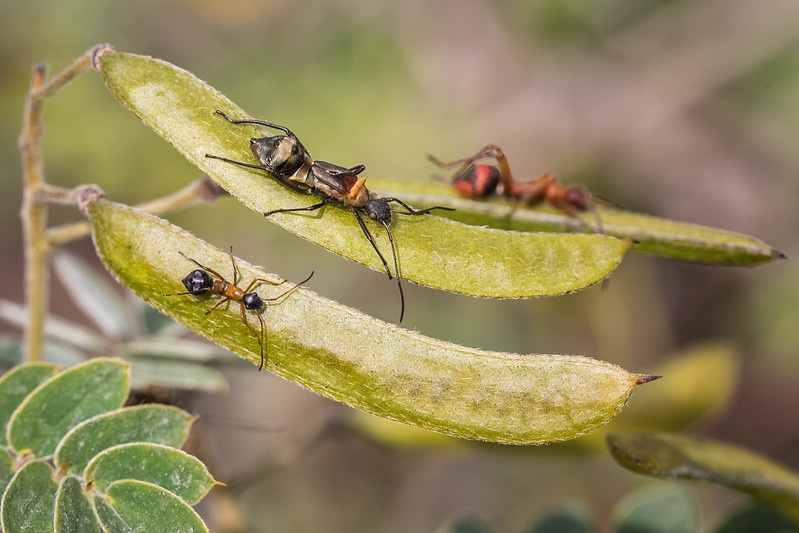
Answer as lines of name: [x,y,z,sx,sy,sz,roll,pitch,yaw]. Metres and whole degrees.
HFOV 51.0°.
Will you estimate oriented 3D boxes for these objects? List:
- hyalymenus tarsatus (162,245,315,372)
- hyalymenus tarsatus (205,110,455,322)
hyalymenus tarsatus: [-1.483,0.330,7.270,1.061,0.800,0.336,21,-17,-17]
hyalymenus tarsatus: [-0.714,-0.745,8.023,2.593,0.682,1.734,27,-13,-11]
